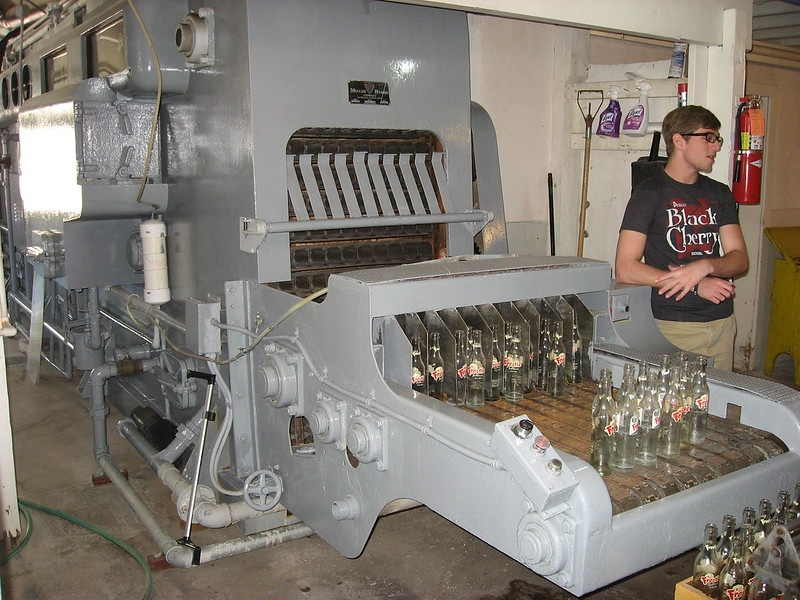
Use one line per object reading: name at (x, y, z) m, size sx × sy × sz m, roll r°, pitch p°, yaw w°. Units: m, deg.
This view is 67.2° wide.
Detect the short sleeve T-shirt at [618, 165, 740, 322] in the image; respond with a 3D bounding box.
short sleeve T-shirt at (1.530, -0.284, 3.260) m, size 0.794 × 0.981 × 0.485 m, roll -5°, pitch 8°, yaw -23°
